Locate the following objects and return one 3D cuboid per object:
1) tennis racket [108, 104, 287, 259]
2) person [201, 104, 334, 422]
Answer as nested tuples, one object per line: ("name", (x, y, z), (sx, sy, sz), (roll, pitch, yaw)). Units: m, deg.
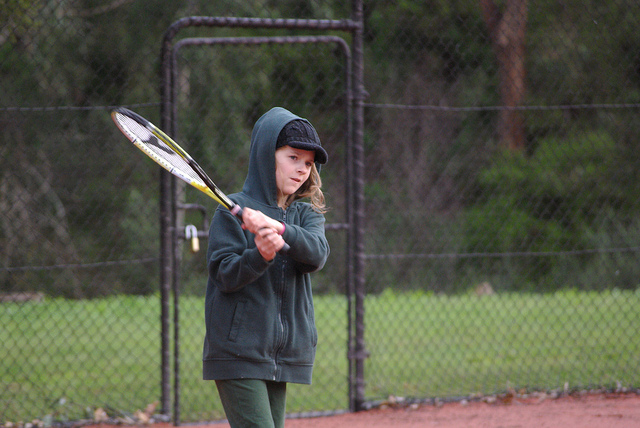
("tennis racket", (-0.969, -0.283, 9.954), (1.876, 0.157, 0.489), (42, -14, -15))
("person", (-0.465, 0.419, 9.826), (1.098, 2.745, 0.499), (-1, -5, -10))
